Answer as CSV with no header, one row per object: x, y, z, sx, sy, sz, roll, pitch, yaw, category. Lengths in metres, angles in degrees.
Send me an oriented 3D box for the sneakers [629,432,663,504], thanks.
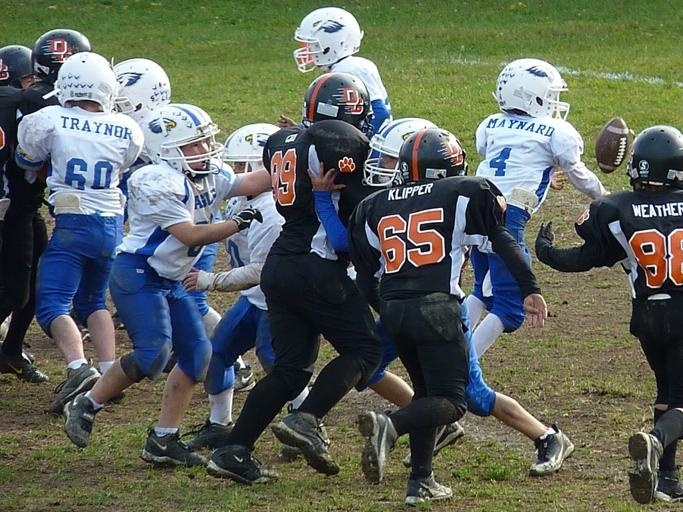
1.917,1.310,6.043,0.201,0.467,0.240,1,-6,22,sneakers

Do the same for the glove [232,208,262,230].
-0.639,-0.268,6.739,0.145,0.144,0.237,9,15,26,glove

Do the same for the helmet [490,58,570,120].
1.606,-1.463,8.330,0.699,0.449,0.490,-1,23,-2,helmet
